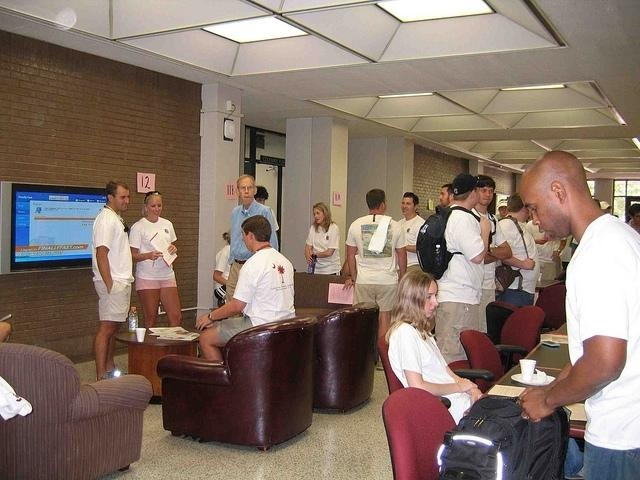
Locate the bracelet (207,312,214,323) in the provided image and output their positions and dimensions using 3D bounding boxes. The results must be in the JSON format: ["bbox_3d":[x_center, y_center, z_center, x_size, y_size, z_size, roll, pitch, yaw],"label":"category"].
[{"bbox_3d":[-1.036,0.738,4.433,0.052,0.113,0.118,3,-4,4],"label":"bracelet"}]

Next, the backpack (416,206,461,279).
[{"bbox_3d":[1.105,0.042,4.389,0.400,0.633,0.439,-4,7,-6],"label":"backpack"}]

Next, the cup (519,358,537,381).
[{"bbox_3d":[1.254,0.779,2.797,0.114,0.117,0.097,4,-4,-19],"label":"cup"}]

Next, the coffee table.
[{"bbox_3d":[-1.699,1.237,4.879,0.687,0.456,0.699,1,-1,5],"label":"coffee table"}]

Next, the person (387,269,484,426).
[{"bbox_3d":[0.731,0.677,3.064,0.591,0.921,0.422,1,2,5],"label":"person"}]

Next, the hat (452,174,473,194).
[{"bbox_3d":[1.313,-0.548,4.284,0.205,0.125,0.146,-43,32,-25],"label":"hat"}]

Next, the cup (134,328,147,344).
[{"bbox_3d":[-1.797,0.963,4.699,0.112,0.121,0.110,4,-2,0],"label":"cup"}]

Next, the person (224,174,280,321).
[{"bbox_3d":[-0.833,0.315,5.664,0.579,2.157,0.426,8,20,20],"label":"person"}]

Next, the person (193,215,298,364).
[{"bbox_3d":[-0.727,0.668,4.456,0.938,1.692,0.718,-3,-3,19],"label":"person"}]
